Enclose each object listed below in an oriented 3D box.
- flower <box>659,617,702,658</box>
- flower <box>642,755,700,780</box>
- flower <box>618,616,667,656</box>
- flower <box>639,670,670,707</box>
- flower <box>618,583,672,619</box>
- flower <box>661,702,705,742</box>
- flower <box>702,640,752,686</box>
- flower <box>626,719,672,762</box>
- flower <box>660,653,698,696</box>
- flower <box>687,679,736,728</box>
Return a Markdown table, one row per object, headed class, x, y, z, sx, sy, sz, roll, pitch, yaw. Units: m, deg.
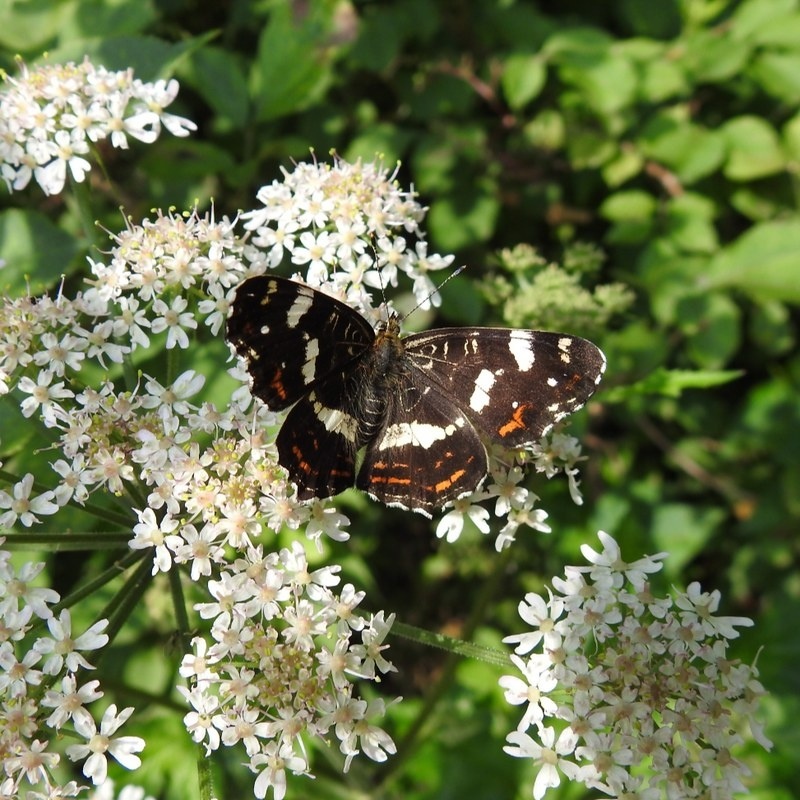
| class | x | y | z | sx | sy | sz | roll | pitch | yaw |
| --- | --- | --- | --- | --- | --- | --- | --- | --- | --- |
| flower | 0.928 | 0.781 | 3.334 | 0.141 | 0.041 | 0.127 | 0 | 92 | -5 |
| flower | 0.888 | 1.193 | 3.280 | 0.152 | 0.144 | 0.086 | -1 | 81 | -1 |
| flower | 0.785 | 0.780 | 3.314 | 0.136 | 0.047 | 0.116 | 4 | 78 | -3 |
| flower | 0.830 | 0.928 | 3.247 | 0.111 | 0.043 | 0.104 | 0 | 84 | 8 |
| flower | 0.817 | 0.677 | 3.388 | 0.169 | 0.203 | 0.101 | 9 | 81 | 0 |
| flower | 0.920 | 1.040 | 3.239 | 0.129 | 0.049 | 0.123 | 20 | 62 | -1 |
| flower | 1.096 | 0.883 | 3.357 | 0.159 | 0.059 | 0.140 | -26 | 92 | 15 |
| flower | 0.809 | 1.105 | 3.242 | 0.123 | 0.081 | 0.145 | 26 | 82 | 2 |
| flower | 0.916 | 0.888 | 3.258 | 0.127 | 0.063 | 0.120 | -5 | 79 | 0 |
| flower | 1.010 | 1.008 | 3.326 | 0.157 | 0.047 | 0.146 | 3 | 71 | -6 |
